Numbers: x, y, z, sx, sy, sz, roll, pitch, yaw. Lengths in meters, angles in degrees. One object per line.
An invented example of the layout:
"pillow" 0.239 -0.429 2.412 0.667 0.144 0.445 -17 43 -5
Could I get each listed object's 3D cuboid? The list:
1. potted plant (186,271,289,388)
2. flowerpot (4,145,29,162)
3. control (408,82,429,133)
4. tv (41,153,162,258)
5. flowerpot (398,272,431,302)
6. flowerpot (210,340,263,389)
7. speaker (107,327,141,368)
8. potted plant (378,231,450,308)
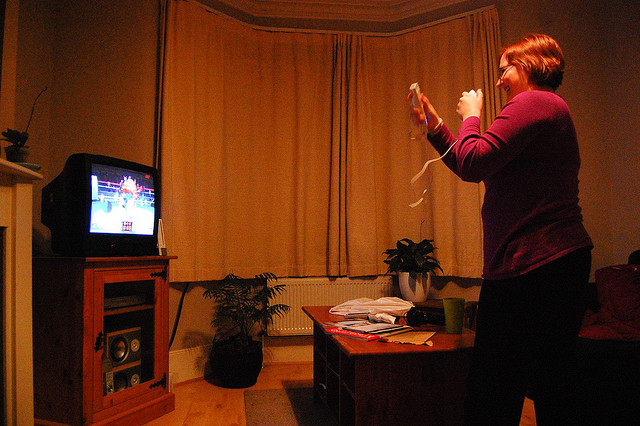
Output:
"potted plant" -0.695 1.014 4.567 0.864 0.995 0.826 1 1 10
"flowerpot" -1.925 -0.372 3.252 0.101 0.089 0.108 1 -7 -15
"control" 0.531 -0.563 2.760 0.077 0.339 0.281 -3 -5 10
"tv" -1.526 -0.048 3.805 0.684 0.766 0.733 -2 -5 28
"flowerpot" 0.842 0.653 4.546 0.223 0.207 0.245 6 -11 -37
"flowerpot" -0.749 1.251 4.400 0.561 0.457 0.581 -2 -22 -5
"speaker" -1.383 0.940 3.591 0.101 0.260 0.279 -2 -5 27
"potted plant" 0.863 0.534 4.808 0.563 0.589 0.611 2 -13 -5
